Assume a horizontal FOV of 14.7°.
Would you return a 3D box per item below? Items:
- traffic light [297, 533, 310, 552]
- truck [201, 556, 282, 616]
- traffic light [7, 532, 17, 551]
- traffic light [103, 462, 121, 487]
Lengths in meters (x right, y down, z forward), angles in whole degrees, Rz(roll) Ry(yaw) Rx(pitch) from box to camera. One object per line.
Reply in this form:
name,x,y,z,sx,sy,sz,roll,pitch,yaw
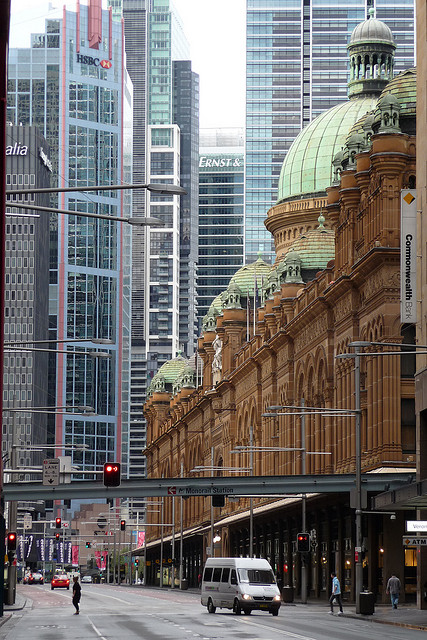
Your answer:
traffic light,3.840,9.231,70.729,0.669,0.759,0.564,5,-13,-22
truck,1.005,9.951,63.407,1.730,2.439,3.931,7,-10,-24
traffic light,-8.656,9.273,71.204,0.489,1.238,0.561,0,-8,-8
traffic light,-3.444,5.083,56.265,0.523,0.989,1.914,1,-14,-5
